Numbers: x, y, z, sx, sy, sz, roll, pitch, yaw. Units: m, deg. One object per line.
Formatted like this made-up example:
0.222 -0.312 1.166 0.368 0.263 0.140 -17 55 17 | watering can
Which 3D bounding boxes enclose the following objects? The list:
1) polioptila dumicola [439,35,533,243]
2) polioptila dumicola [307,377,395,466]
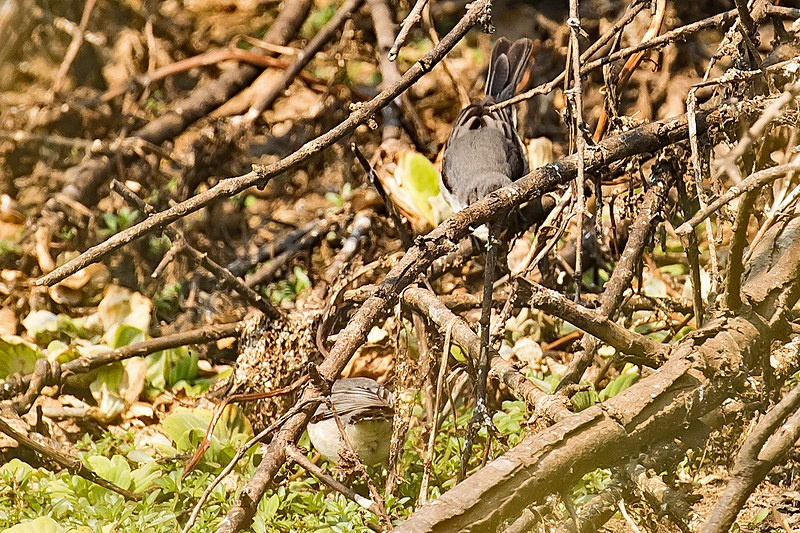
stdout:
0.479 -0.710 4.668 0.641 0.445 1.489 -44 -39 -58 | polioptila dumicola
-0.241 0.700 3.934 0.290 0.379 0.521 -1 -48 -7 | polioptila dumicola
